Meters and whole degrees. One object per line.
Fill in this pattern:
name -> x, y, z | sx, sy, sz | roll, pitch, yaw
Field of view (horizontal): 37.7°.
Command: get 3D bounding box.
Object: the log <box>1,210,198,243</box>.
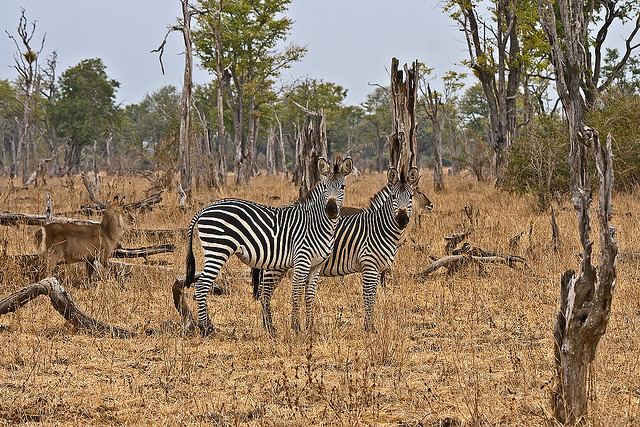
log -> -7.099, 0.437, 29.602 | 5.688, 1.229, 1.232 | -2, -2, -11

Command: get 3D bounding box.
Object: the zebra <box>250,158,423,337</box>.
zebra -> 0.472, 1.200, 26.860 | 5.214, 4.411, 1.447 | -3, 5, -26

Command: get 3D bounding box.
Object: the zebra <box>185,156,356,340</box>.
zebra -> -1.513, 0.909, 29.287 | 5.937, 7.477, 3.052 | 0, -2, -5
